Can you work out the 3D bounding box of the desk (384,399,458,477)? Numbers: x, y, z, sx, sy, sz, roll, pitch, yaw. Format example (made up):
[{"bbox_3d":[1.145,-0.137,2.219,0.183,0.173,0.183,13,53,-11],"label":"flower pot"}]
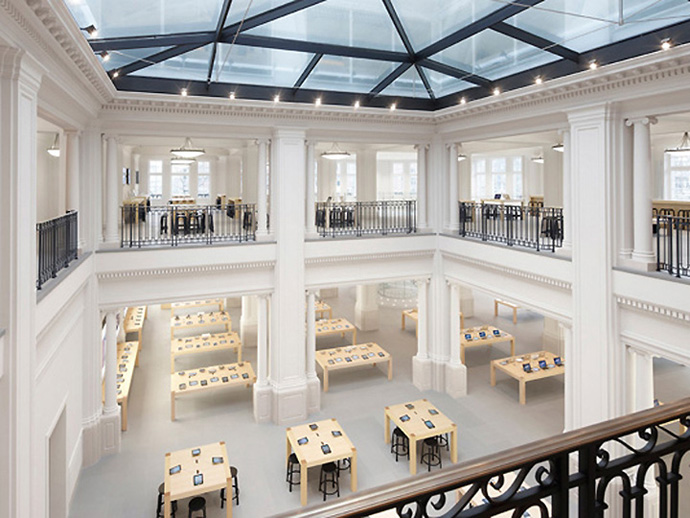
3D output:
[{"bbox_3d":[1.900,4.304,11.786,1.418,1.040,1.750,-4,12,-18],"label":"desk"}]

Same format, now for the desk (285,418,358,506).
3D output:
[{"bbox_3d":[-0.596,4.608,10.979,1.370,1.072,1.373,-5,15,-23],"label":"desk"}]

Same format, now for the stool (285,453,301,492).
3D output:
[{"bbox_3d":[-1.118,4.754,10.835,0.482,0.683,0.496,5,18,9],"label":"stool"}]
